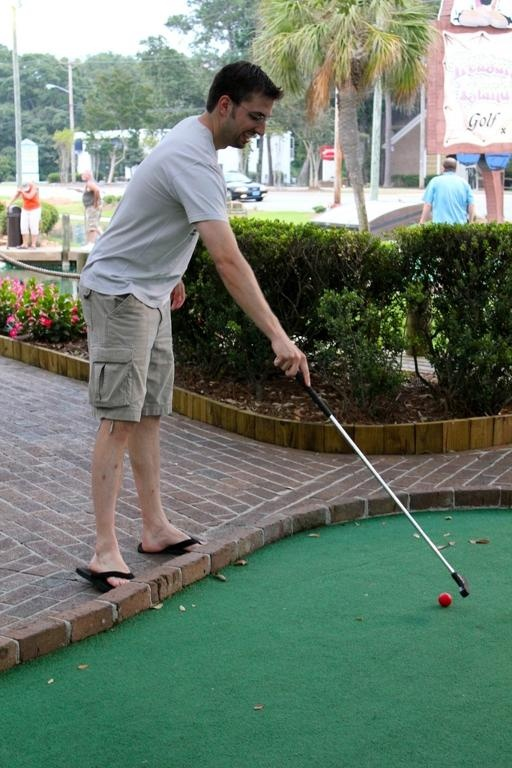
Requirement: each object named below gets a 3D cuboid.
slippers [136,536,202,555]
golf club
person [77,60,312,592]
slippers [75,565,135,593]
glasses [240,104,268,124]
[{"bbox_3d":[-0.359,0.676,3.171,0.265,0.057,0.093,-5,2,14],"label":"slippers"},{"bbox_3d":[0.676,0.508,4.006,0.128,1.109,0.091,-24,-24,-25],"label":"golf club"},{"bbox_3d":[-0.280,-0.153,2.709,0.769,1.840,0.528,8,13,32],"label":"person"},{"bbox_3d":[-0.574,0.698,2.814,0.201,0.050,0.080,5,13,37],"label":"slippers"},{"bbox_3d":[0.003,-0.876,2.486,0.066,0.063,0.022,-5,3,-43],"label":"glasses"}]
